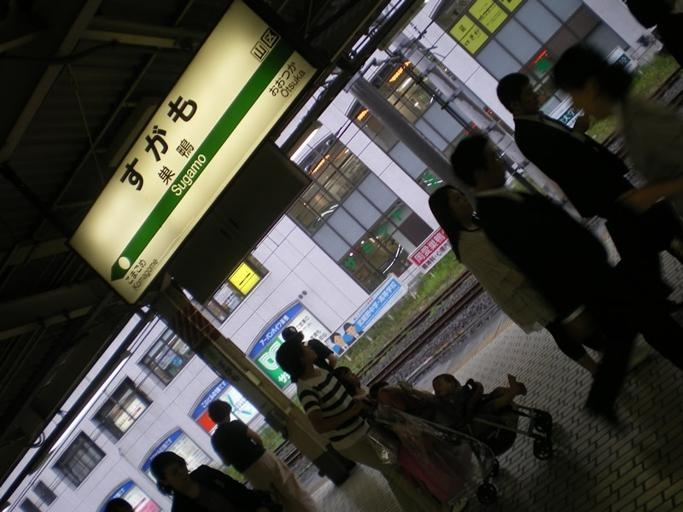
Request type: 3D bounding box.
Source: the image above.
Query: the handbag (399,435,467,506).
[{"bbox_3d":[0.859,2.037,6.843,0.481,0.851,0.194,-42,-9,25],"label":"handbag"}]

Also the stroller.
[{"bbox_3d":[1.165,1.711,7.012,1.356,0.773,1.421,-30,-2,8],"label":"stroller"}]

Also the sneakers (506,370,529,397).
[{"bbox_3d":[1.726,1.279,6.911,0.144,0.261,0.208,-40,-7,16],"label":"sneakers"}]
